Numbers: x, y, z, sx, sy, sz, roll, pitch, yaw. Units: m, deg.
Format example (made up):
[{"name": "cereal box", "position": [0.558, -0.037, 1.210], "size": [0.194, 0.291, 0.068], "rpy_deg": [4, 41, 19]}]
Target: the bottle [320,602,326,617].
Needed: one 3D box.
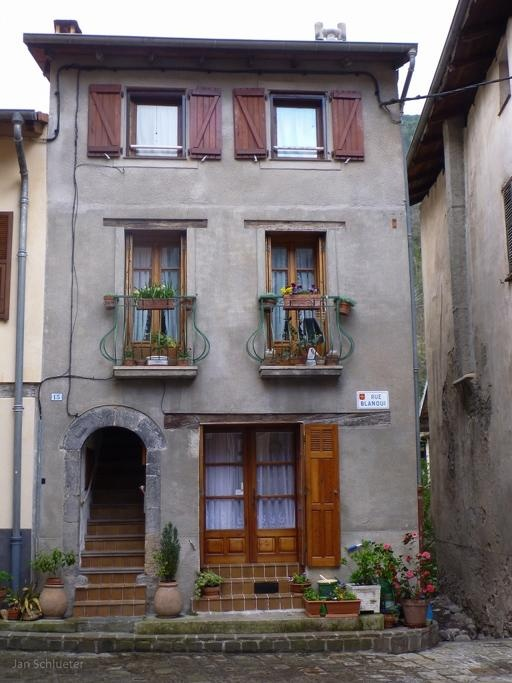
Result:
[{"name": "bottle", "position": [0.765, 3.077, 11.116], "size": [0.053, 0.136, 0.053], "rpy_deg": [2, -22, 1]}]

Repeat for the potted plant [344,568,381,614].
[{"name": "potted plant", "position": [1.287, 2.902, 11.477], "size": [0.300, 0.423, 0.506], "rpy_deg": [1, -8, -4]}]

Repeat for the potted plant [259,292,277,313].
[{"name": "potted plant", "position": [0.155, -0.497, 12.388], "size": [0.188, 0.246, 0.206], "rpy_deg": [1, -1, -16]}]

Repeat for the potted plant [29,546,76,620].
[{"name": "potted plant", "position": [-2.351, 2.845, 11.401], "size": [0.490, 0.816, 0.586], "rpy_deg": [2, -15, -13]}]

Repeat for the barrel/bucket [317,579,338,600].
[{"name": "barrel/bucket", "position": [0.853, 2.922, 11.432], "size": [0.164, 0.176, 0.185], "rpy_deg": [1, -6, -3]}]

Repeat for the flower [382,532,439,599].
[{"name": "flower", "position": [1.897, 2.777, 11.744], "size": [0.689, 1.140, 0.715], "rpy_deg": [-1, -15, -1]}]

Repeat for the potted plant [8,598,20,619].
[{"name": "potted plant", "position": [-2.744, 3.064, 11.089], "size": [0.133, 0.228, 0.178], "rpy_deg": [7, -17, -27]}]

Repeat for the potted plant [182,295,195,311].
[{"name": "potted plant", "position": [-0.848, -0.484, 12.308], "size": [0.144, 0.179, 0.160], "rpy_deg": [0, -3, 2]}]

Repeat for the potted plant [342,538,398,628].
[{"name": "potted plant", "position": [1.439, 2.893, 11.783], "size": [0.688, 1.127, 0.784], "rpy_deg": [1, -17, -5]}]

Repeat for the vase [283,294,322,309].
[{"name": "vase", "position": [0.590, -0.485, 12.163], "size": [0.263, 0.150, 0.216], "rpy_deg": [0, -2, -3]}]

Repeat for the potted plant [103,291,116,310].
[{"name": "potted plant", "position": [-1.813, -0.515, 12.237], "size": [0.166, 0.209, 0.154], "rpy_deg": [1, 6, 3]}]

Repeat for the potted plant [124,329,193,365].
[{"name": "potted plant", "position": [-1.228, 0.140, 12.244], "size": [0.832, 0.450, 0.362], "rpy_deg": [-1, -15, -3]}]

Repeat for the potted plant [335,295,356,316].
[{"name": "potted plant", "position": [1.143, -0.410, 12.437], "size": [0.210, 0.243, 0.242], "rpy_deg": [8, -27, 6]}]

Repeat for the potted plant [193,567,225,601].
[{"name": "potted plant", "position": [-0.585, 2.966, 11.845], "size": [0.265, 0.300, 0.267], "rpy_deg": [3, -20, -10]}]

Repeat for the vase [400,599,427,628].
[{"name": "vase", "position": [1.829, 3.179, 11.344], "size": [0.261, 0.252, 0.275], "rpy_deg": [-7, -14, 34]}]

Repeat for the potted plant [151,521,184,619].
[{"name": "potted plant", "position": [-1.030, 2.719, 11.497], "size": [0.321, 1.080, 0.482], "rpy_deg": [0, -15, -6]}]

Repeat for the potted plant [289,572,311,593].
[{"name": "potted plant", "position": [0.533, 2.956, 11.920], "size": [0.166, 0.201, 0.212], "rpy_deg": [2, -17, -5]}]
